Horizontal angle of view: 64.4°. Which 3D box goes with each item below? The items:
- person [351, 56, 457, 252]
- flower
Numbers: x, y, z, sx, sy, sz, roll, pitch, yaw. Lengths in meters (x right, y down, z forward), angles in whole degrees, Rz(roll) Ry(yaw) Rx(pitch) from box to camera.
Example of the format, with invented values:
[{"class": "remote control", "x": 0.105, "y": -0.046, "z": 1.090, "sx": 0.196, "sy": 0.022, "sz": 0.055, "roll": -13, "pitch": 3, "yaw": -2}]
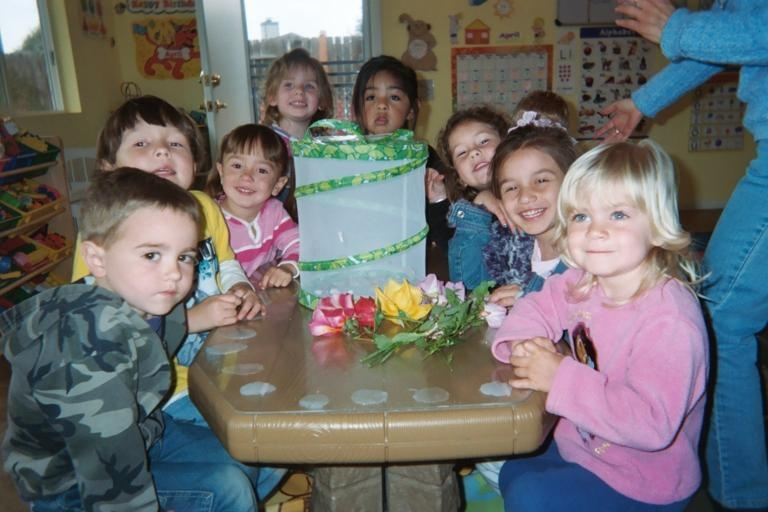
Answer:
[{"class": "person", "x": 0.021, "y": -0.373, "z": 2.841, "sx": 0.500, "sy": 1.086, "sz": 0.452, "roll": 2, "pitch": 6, "yaw": -4}, {"class": "flower", "x": 0.058, "y": 0.108, "z": 1.430, "sx": 0.285, "sy": 0.124, "sz": 0.242, "roll": -17, "pitch": 18, "yaw": -39}]
